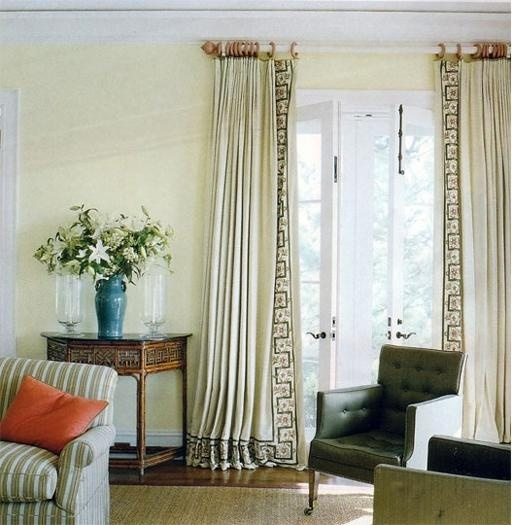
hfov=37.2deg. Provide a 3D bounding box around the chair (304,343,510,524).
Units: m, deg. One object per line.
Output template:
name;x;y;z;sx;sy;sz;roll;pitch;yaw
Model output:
chair;0.930;0.811;4.250;0.933;1.267;1.055;-3;-12;39

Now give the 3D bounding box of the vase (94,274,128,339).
vase;-0.941;0.296;4.984;0.199;0.399;0.220;-1;15;-11

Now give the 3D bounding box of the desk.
desk;-0.803;0.923;5.252;1.252;1.079;0.809;0;-6;4

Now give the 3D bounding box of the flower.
flower;-0.923;-0.119;5.164;0.689;0.417;0.646;1;5;14
